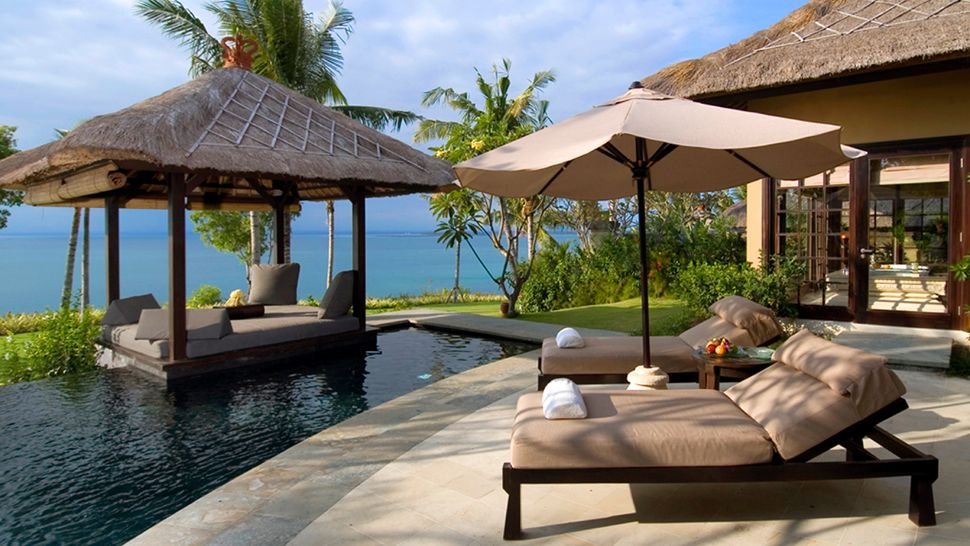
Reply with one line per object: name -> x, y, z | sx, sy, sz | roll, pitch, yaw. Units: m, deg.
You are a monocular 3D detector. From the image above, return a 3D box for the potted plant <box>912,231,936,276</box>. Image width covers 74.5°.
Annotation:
potted plant -> 8.597, -0.409, 12.524 | 0.410, 0.779, 0.244 | -3, 0, 27

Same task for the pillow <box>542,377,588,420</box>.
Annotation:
pillow -> 0.977, 1.597, 8.252 | 0.549, 0.222, 0.736 | -8, 23, -1

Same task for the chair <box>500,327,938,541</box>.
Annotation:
chair -> 2.719, 2.008, 8.555 | 4.608, 1.730, 2.593 | 0, -1, 4

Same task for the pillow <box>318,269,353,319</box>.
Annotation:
pillow -> -3.114, 0.455, 13.403 | 0.407, 1.041, 0.857 | -3, 0, 36

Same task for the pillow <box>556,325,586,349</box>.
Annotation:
pillow -> 1.404, 1.076, 10.685 | 0.404, 0.197, 0.635 | -1, -2, 2

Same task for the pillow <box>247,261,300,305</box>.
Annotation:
pillow -> -4.714, 0.255, 14.388 | 1.182, 0.952, 0.433 | 2, -2, 12
